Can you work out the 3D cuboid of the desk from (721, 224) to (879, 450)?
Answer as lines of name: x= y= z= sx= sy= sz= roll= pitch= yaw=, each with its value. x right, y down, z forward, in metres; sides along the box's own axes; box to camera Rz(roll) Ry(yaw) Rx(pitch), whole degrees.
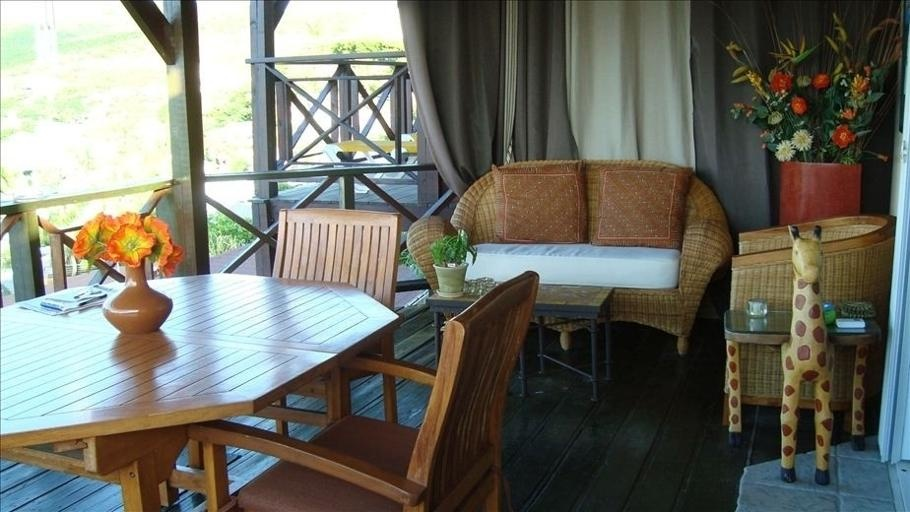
desk: x=2.068 y=0.401 z=3.800 sx=1.026 sy=1.216 sz=0.812 roll=-1 pitch=9 yaw=8

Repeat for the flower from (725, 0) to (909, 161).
flower: x=2.594 y=-1.254 z=4.662 sx=1.087 sy=1.189 sz=0.632 roll=1 pitch=10 yaw=20

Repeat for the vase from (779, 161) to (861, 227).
vase: x=2.532 y=-0.420 z=4.731 sx=0.547 sy=0.489 sz=0.569 roll=0 pitch=-1 yaw=3

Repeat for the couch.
couch: x=1.030 y=-0.069 z=5.229 sx=2.567 sy=1.183 sz=1.188 roll=2 pitch=21 yaw=32

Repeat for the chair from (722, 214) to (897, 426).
chair: x=2.056 y=0.291 z=4.419 sx=1.352 sy=1.355 sz=1.244 roll=1 pitch=5 yaw=20

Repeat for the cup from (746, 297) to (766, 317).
cup: x=1.728 y=0.295 z=3.707 sx=0.112 sy=0.092 sz=0.110 roll=-2 pitch=8 yaw=0
